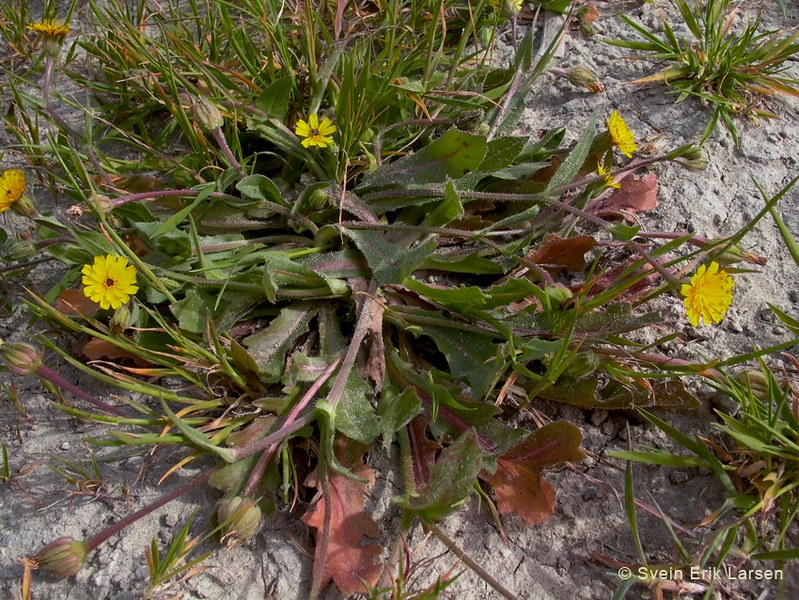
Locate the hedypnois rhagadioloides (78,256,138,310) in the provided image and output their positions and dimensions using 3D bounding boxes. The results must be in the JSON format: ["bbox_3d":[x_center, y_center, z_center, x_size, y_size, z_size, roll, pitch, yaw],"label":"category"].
[{"bbox_3d":[-0.912,-0.060,2.118,0.147,0.100,0.164,-5,69,0],"label":"hedypnois rhagadioloides"}]

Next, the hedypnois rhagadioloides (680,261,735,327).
[{"bbox_3d":[0.916,-0.026,2.099,0.204,0.078,0.198,-18,105,-27],"label":"hedypnois rhagadioloides"}]
